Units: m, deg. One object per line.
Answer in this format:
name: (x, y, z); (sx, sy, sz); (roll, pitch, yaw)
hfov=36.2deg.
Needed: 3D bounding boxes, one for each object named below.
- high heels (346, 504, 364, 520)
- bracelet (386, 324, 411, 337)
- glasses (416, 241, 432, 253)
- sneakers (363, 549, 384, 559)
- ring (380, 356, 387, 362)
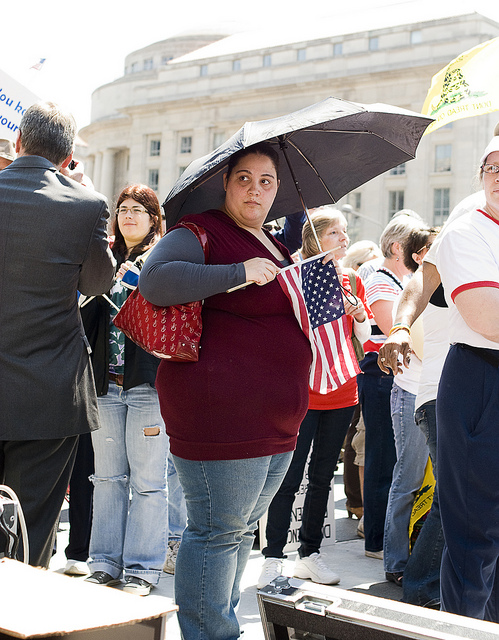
high heels: (0.911, 1.671, 6.574); (0.079, 0.074, 0.195); (6, -20, -23)
bracelet: (0.649, 0.046, 3.271); (0.061, 0.049, 0.041); (-5, -17, -7)
glasses: (1.103, -0.455, 4.834); (0.099, 0.083, 0.029); (-1, -4, -30)
sneakers: (0.856, 1.608, 5.226); (0.135, 0.051, 0.044); (-3, -2, 35)
ring: (0.566, 0.165, 3.220); (0.031, 0.025, 0.008); (-1, 0, 34)
